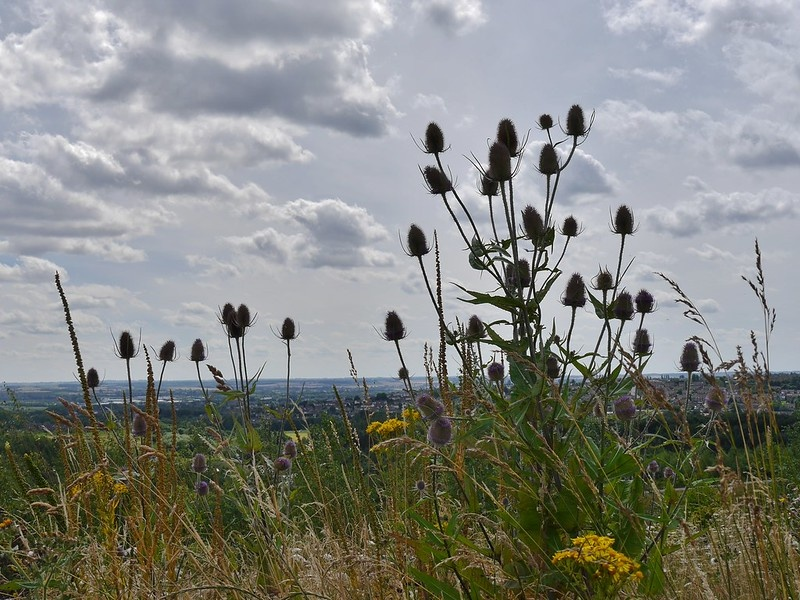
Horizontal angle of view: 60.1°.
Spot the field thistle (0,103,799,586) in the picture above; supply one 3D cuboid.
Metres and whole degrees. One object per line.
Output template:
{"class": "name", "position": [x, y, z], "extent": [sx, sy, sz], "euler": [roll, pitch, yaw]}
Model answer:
{"class": "field thistle", "position": [0.217, 1.256, 5.691], "extent": [4.467, 3.096, 4.073], "euler": [-6, -10, 13]}
